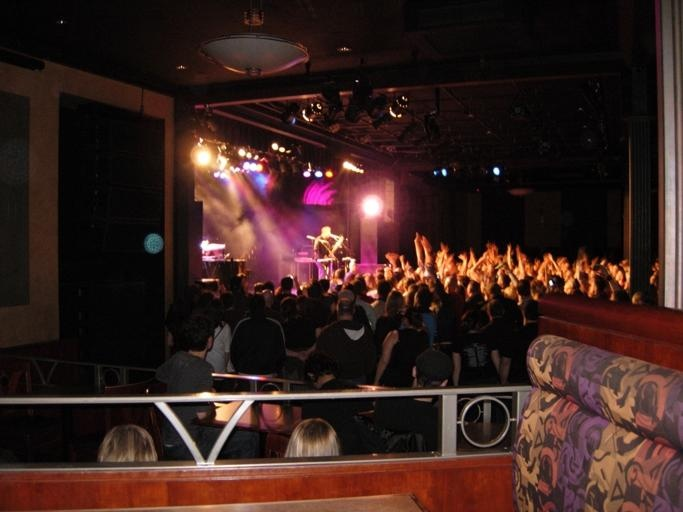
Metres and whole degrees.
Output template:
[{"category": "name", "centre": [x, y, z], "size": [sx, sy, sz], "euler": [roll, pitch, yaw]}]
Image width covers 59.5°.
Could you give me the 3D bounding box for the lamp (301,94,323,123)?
[{"category": "lamp", "centre": [-0.371, -1.954, 8.004], "size": [0.275, 0.255, 0.303], "euler": [2, -3, -14]}]

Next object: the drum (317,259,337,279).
[{"category": "drum", "centre": [-0.350, 0.298, 14.509], "size": [0.439, 0.545, 0.467], "euler": [0, 16, -8]}]

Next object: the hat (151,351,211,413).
[{"category": "hat", "centre": [-1.002, 0.755, 3.883], "size": [0.308, 0.254, 0.329], "euler": [3, -3, -38]}]

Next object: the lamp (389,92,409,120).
[{"category": "lamp", "centre": [0.764, -2.022, 8.080], "size": [0.213, 0.305, 0.399], "euler": [0, -3, 20]}]

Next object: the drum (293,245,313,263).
[{"category": "drum", "centre": [-0.908, -0.025, 15.188], "size": [0.422, 0.331, 0.421], "euler": [0, -4, 0]}]
